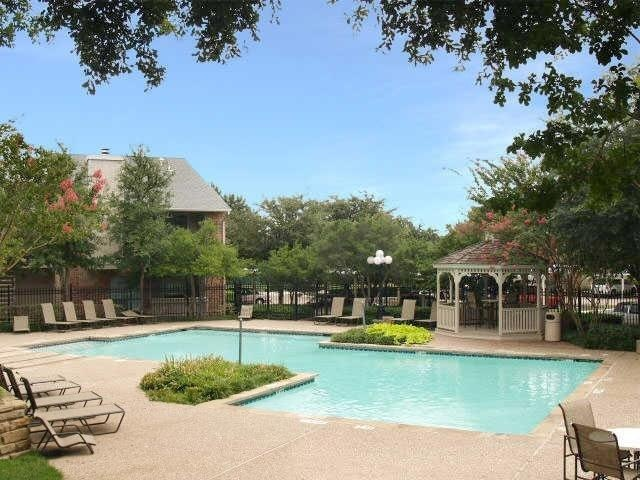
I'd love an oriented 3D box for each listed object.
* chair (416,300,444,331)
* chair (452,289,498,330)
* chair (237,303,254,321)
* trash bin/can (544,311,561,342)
[{"bbox_3d":[4.892,3.400,25.915,0.894,1.306,2.128,0,-1,0],"label":"chair"},{"bbox_3d":[7.125,3.155,25.676,1.624,0.997,2.411,-1,-2,44],"label":"chair"},{"bbox_3d":[-3.977,3.952,30.883,0.675,0.696,0.748,0,-1,-4],"label":"chair"},{"bbox_3d":[8.771,3.272,21.435,0.536,0.823,0.549,0,0,20],"label":"trash bin/can"}]
